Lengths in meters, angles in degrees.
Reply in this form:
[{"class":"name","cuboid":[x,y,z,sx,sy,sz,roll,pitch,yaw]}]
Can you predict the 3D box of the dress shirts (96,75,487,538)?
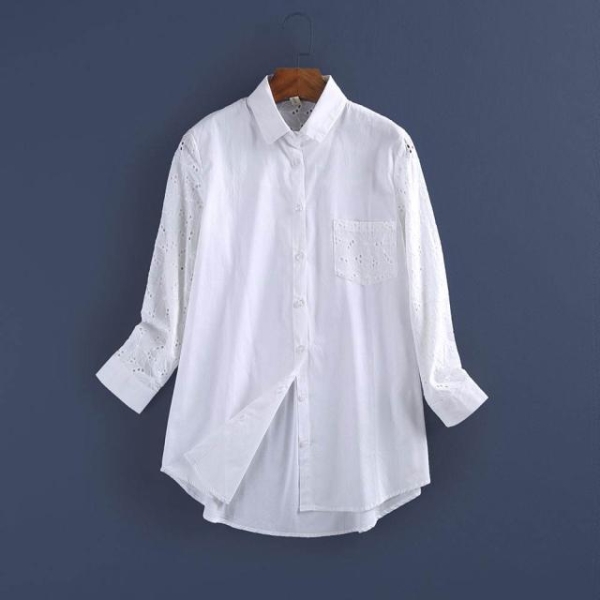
[{"class":"dress shirts","cuboid":[-0.029,-0.028,2.275,0.995,1.101,0.121,0,1,-2]}]
